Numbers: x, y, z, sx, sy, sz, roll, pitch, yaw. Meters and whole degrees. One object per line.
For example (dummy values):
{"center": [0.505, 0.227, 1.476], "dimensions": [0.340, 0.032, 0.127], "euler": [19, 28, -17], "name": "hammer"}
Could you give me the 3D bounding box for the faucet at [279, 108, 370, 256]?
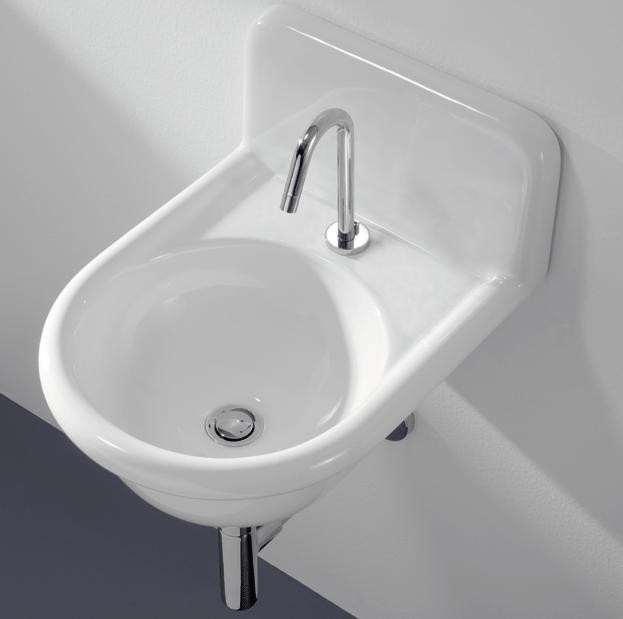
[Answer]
{"center": [0.020, -0.152, 0.839], "dimensions": [0.060, 0.190, 0.142], "euler": [35, 61, 25], "name": "faucet"}
